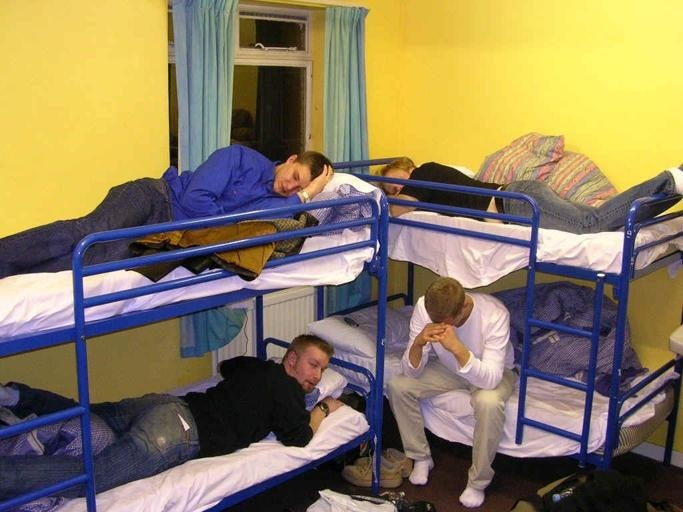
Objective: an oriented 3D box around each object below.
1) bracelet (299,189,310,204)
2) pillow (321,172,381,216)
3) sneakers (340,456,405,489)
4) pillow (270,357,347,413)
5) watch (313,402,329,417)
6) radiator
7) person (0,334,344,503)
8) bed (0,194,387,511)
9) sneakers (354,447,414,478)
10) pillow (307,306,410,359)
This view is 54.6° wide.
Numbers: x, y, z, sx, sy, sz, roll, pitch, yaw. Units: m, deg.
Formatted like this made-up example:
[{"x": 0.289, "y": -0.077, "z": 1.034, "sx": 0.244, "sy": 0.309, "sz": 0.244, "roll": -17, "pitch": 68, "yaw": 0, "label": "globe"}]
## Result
[{"x": -0.220, "y": -0.350, "z": 3.859, "sx": 0.051, "sy": 0.083, "sz": 0.079, "roll": -22, "pitch": -12, "yaw": 23, "label": "bracelet"}, {"x": 0.043, "y": -0.356, "z": 3.835, "sx": 0.265, "sy": 0.281, "sz": 0.089, "roll": 11, "pitch": 8, "yaw": -4, "label": "pillow"}, {"x": 0.198, "y": 1.390, "z": 4.322, "sx": 0.415, "sy": 0.188, "sz": 0.175, "roll": 4, "pitch": 15, "yaw": 1, "label": "sneakers"}, {"x": -0.140, "y": 0.851, "z": 4.211, "sx": 0.366, "sy": 0.122, "sz": 0.317, "roll": -35, "pitch": 60, "yaw": -26, "label": "pillow"}, {"x": -0.123, "y": 0.931, "z": 4.046, "sx": 0.093, "sy": 0.096, "sz": 0.059, "roll": 25, "pitch": 31, "yaw": -31, "label": "watch"}, {"x": -0.504, "y": 0.546, "z": 5.258, "sx": 0.060, "sy": 0.718, "sz": 1.003, "roll": 15, "pitch": -14, "yaw": -33, "label": "radiator"}, {"x": -0.868, "y": 0.878, "z": 3.586, "sx": 1.698, "sy": 0.474, "sz": 0.707, "roll": 1, "pitch": 17, "yaw": -40, "label": "person"}, {"x": -0.810, "y": 0.541, "z": 3.610, "sx": 1.681, "sy": 1.107, "sz": 0.622, "roll": -14, "pitch": 24, "yaw": -41, "label": "bed"}, {"x": 0.281, "y": 1.334, "z": 4.414, "sx": 0.347, "sy": 0.157, "sz": 0.165, "roll": 15, "pitch": 14, "yaw": 7, "label": "sneakers"}, {"x": 0.198, "y": 0.525, "z": 4.759, "sx": 0.427, "sy": 0.140, "sz": 0.443, "roll": -8, "pitch": 11, "yaw": -34, "label": "pillow"}]
